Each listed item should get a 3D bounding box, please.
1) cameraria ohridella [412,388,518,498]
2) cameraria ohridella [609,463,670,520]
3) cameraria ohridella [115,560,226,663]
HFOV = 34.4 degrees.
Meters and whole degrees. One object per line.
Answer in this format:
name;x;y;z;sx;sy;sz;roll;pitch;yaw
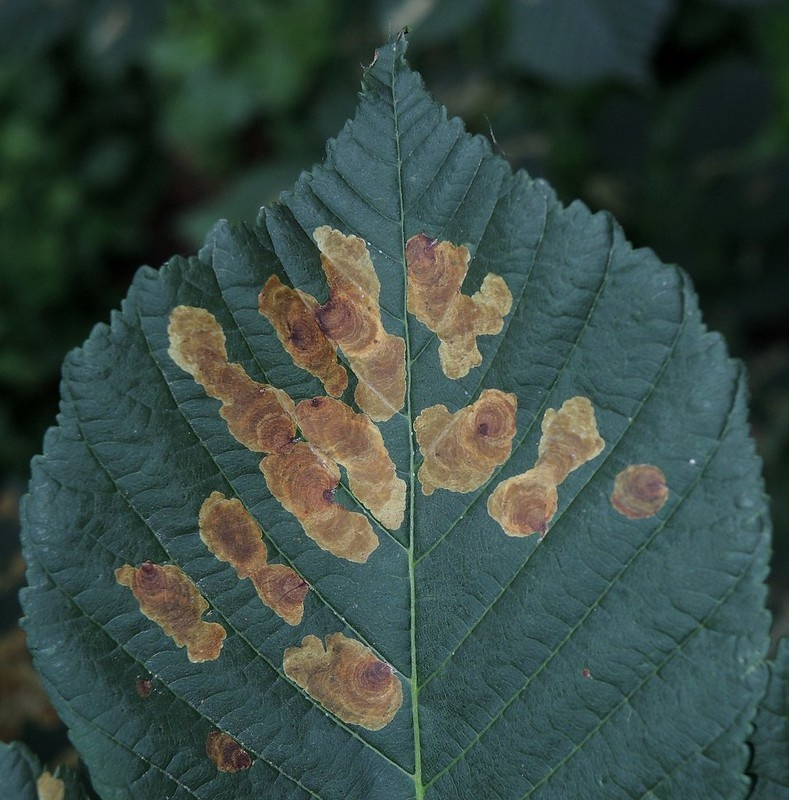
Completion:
cameraria ohridella;0.179;0.094;2.858;0.225;0.066;0.237;41;112;11
cameraria ohridella;0.524;0.196;2.719;0.105;0.043;0.113;-9;83;0
cameraria ohridella;-0.498;0.465;2.825;0.146;0.041;0.277;-41;96;-20
